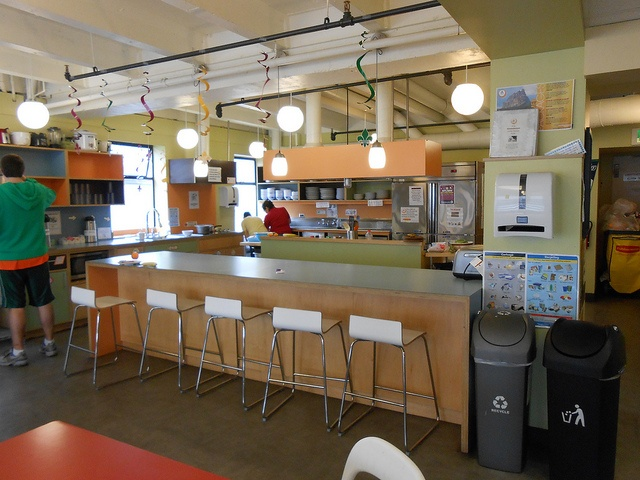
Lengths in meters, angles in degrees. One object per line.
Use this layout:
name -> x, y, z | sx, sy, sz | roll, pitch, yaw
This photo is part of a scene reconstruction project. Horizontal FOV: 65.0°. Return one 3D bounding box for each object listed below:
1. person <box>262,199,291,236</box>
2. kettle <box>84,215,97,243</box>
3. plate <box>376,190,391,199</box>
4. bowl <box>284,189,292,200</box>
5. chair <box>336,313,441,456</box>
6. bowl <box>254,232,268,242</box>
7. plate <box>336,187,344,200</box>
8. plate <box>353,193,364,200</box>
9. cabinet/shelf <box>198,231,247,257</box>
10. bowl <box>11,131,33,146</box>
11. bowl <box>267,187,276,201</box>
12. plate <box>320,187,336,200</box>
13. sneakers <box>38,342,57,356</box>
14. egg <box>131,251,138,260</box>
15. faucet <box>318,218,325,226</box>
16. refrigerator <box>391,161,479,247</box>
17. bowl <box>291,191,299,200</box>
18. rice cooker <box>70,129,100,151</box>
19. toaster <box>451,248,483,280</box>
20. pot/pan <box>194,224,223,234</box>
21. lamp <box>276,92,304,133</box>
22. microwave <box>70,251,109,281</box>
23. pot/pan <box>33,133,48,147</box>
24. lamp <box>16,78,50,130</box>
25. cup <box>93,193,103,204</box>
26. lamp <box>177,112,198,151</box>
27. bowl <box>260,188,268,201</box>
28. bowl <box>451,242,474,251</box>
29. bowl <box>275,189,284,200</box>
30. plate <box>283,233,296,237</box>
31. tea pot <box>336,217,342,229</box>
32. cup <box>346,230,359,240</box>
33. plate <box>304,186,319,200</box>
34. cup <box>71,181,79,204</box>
person -> -0.778, -0.398, 8.972 | 0.439, 0.507, 0.803 | -2, 14, -7
kettle -> -3.486, -0.166, 7.601 | 0.165, 0.352, 0.379 | -7, 15, -25
plate -> 1.246, -0.904, 9.921 | 0.183, 0.126, 0.184 | -1, 4, -1
bowl -> -0.701, -0.998, 10.835 | 0.185, 0.209, 0.184 | 0, 0, 0
chair -> 0.571, 1.142, 4.275 | 0.722, 1.053, 0.778 | -7, 9, -40
bowl -> -1.008, -0.079, 8.531 | 0.229, 0.159, 0.234 | -1, 2, 0
plate -> 0.409, -0.938, 10.084 | 0.197, 0.229, 0.201 | 2, 5, 22
plate -> 0.767, -0.884, 10.154 | 0.135, 0.087, 0.134 | 0, 2, -18
cabinet/shelf -> -1.811, 0.112, 9.399 | 0.185, 0.588, 1.320 | 6, 15, 23
bowl -> -4.008, -1.364, 6.754 | 0.250, 0.177, 0.185 | -13, 18, -42
bowl -> -1.078, -1.032, 11.134 | 0.240, 0.261, 0.243 | 0, 1, 0
plate -> 0.145, -0.940, 10.167 | 0.241, 0.186, 0.243 | 0, 2, -1
sneakers -> -3.113, 1.260, 5.771 | 0.100, 0.116, 0.233 | -5, 10, -40
egg -> -2.117, 0.172, 5.703 | 0.089, 0.105, 0.091 | -3, -10, 3
faucet -> 0.041, -0.391, 10.841 | 0.140, 0.133, 0.099 | 18, 5, 41
refrigerator -> 1.964, -0.616, 8.315 | 1.445, 2.176, 0.831 | 1, 1, 29
bowl -> -0.536, -0.948, 10.663 | 0.202, 0.206, 0.112 | -2, 5, 7
rice cooker -> -3.520, -1.474, 7.501 | 0.312, 0.314, 0.315 | 3, 6, 25
toaster -> 1.319, 0.218, 4.512 | 0.254, 0.206, 0.258 | 0, 1, -1
pot/pan -> -2.138, -0.207, 9.299 | 0.364, 0.133, 0.228 | 0, 3, 21
lamp -> -0.335, -1.355, 5.528 | 0.254, 0.274, 0.246 | -2, 14, -6
microwave -> -3.171, 0.303, 6.842 | 0.390, 0.360, 0.576 | 3, 7, 33
pot/pan -> -3.900, -1.396, 6.986 | 0.127, 0.233, 0.235 | 4, 7, 35
lamp -> -3.748, -1.789, 6.527 | 0.288, 0.695, 2.246 | -8, 15, -28
cup -> -3.389, -0.646, 7.662 | 0.125, 0.144, 0.151 | -5, 3, -31
lamp -> -1.784, -1.379, 6.774 | 0.257, 0.255, 0.504 | -4, 14, -16
bowl -> -1.277, -1.053, 11.454 | 0.243, 0.264, 0.245 | 0, 3, 0
bowl -> 1.873, 0.068, 6.586 | 0.261, 0.087, 0.263 | -1, 2, 0
bowl -> -0.881, -0.990, 10.937 | 0.200, 0.231, 0.201 | 2, -2, 0
plate -> -0.484, -0.088, 8.083 | 0.166, 0.051, 0.122 | -1, 2, -23
tea pot -> 0.395, -0.350, 10.445 | 0.116, 0.182, 0.363 | -1, 13, -3
cup -> 0.477, -0.085, 7.445 | 0.119, 0.101, 0.136 | 0, -1, 15
plate -> -0.170, -0.984, 10.391 | 0.265, 0.194, 0.260 | -3, 4, -34
cup -> -3.587, -0.690, 7.374 | 0.134, 0.314, 0.169 | -6, 15, -20
